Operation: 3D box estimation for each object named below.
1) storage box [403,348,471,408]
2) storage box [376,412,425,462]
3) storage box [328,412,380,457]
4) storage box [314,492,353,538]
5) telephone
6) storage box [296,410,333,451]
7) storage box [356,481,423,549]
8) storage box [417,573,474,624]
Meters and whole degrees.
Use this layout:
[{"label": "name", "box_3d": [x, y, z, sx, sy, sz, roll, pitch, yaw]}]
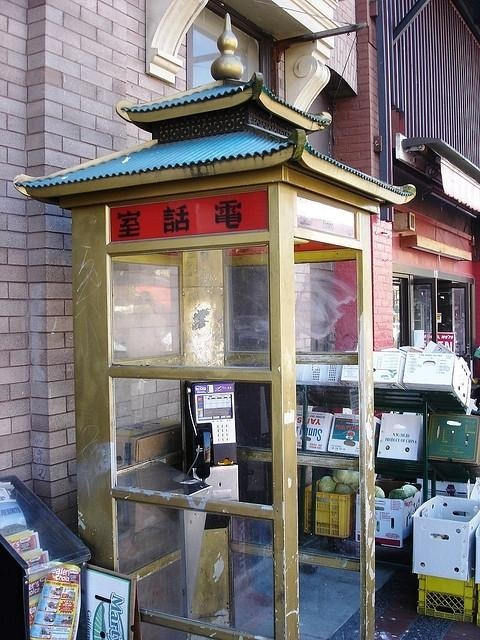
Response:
[{"label": "storage box", "box_3d": [1.348, 0.480, 4.369, 0.408, 0.270, 0.416, 13, -23, 13]}, {"label": "storage box", "box_3d": [1.169, 0.859, 4.811, 0.348, 0.355, 0.278, 4, 9, -14]}, {"label": "storage box", "box_3d": [0.567, 0.609, 3.387, 0.230, 0.225, 0.132, 7, 1, -21]}, {"label": "storage box", "box_3d": [0.473, 1.110, 3.479, 0.226, 0.226, 0.184, 2, -30, 5]}, {"label": "telephone", "box_3d": [-0.144, 0.491, 2.798, 0.339, 0.434, 0.101, -1, -1, 33]}, {"label": "storage box", "box_3d": [0.417, 0.634, 3.577, 0.219, 0.223, 0.122, 3, -10, 27]}, {"label": "storage box", "box_3d": [1.107, 1.477, 4.675, 0.303, 0.387, 0.539, 2, -13, 26]}, {"label": "storage box", "box_3d": [1.203, 1.600, 3.668, 0.346, 0.288, 0.213, -1, -10, 22]}]
